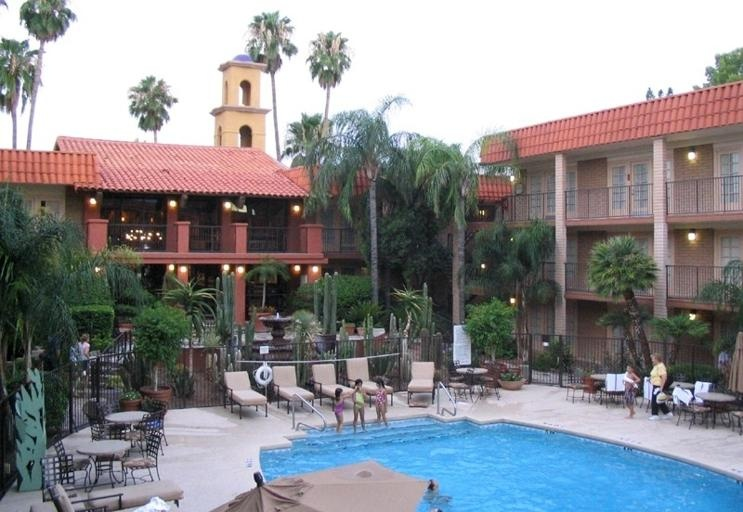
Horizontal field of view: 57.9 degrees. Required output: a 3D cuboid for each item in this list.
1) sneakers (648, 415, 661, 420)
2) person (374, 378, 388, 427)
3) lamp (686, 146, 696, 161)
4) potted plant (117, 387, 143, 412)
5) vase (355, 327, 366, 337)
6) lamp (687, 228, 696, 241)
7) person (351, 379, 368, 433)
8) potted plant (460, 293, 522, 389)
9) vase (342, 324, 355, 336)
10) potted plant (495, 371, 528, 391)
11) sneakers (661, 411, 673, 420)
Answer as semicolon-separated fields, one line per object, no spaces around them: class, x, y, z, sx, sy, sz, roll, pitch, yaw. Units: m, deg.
sneakers;8.549;4.914;20.323;0.115;0.145;0.351;-6;-21;35
person;0.324;4.329;19.957;0.322;1.297;0.821;2;12;2
lamp;12.451;-3.953;26.120;0.167;0.589;0.431;-8;15;-35
potted plant;-6.854;4.146;19.144;0.492;0.490;0.517;1;-5;-6
vase;-0.469;3.301;29.127;0.521;0.389;0.512;2;-4;-38
lamp;12.583;-0.767;26.264;0.312;0.560;0.554;7;14;26
person;-0.333;4.270;19.605;0.352;1.444;0.996;1;12;-2
potted plant;4.887;3.039;25.201;1.906;3.203;2.383;-1;0;8
vase;-0.863;3.214;29.314;0.668;0.553;0.701;-2;-2;37
potted plant;5.072;4.460;23.933;0.748;0.424;0.704;3;-2;-36
sneakers;9.044;4.899;20.501;0.276;0.299;0.170;-2;4;7
